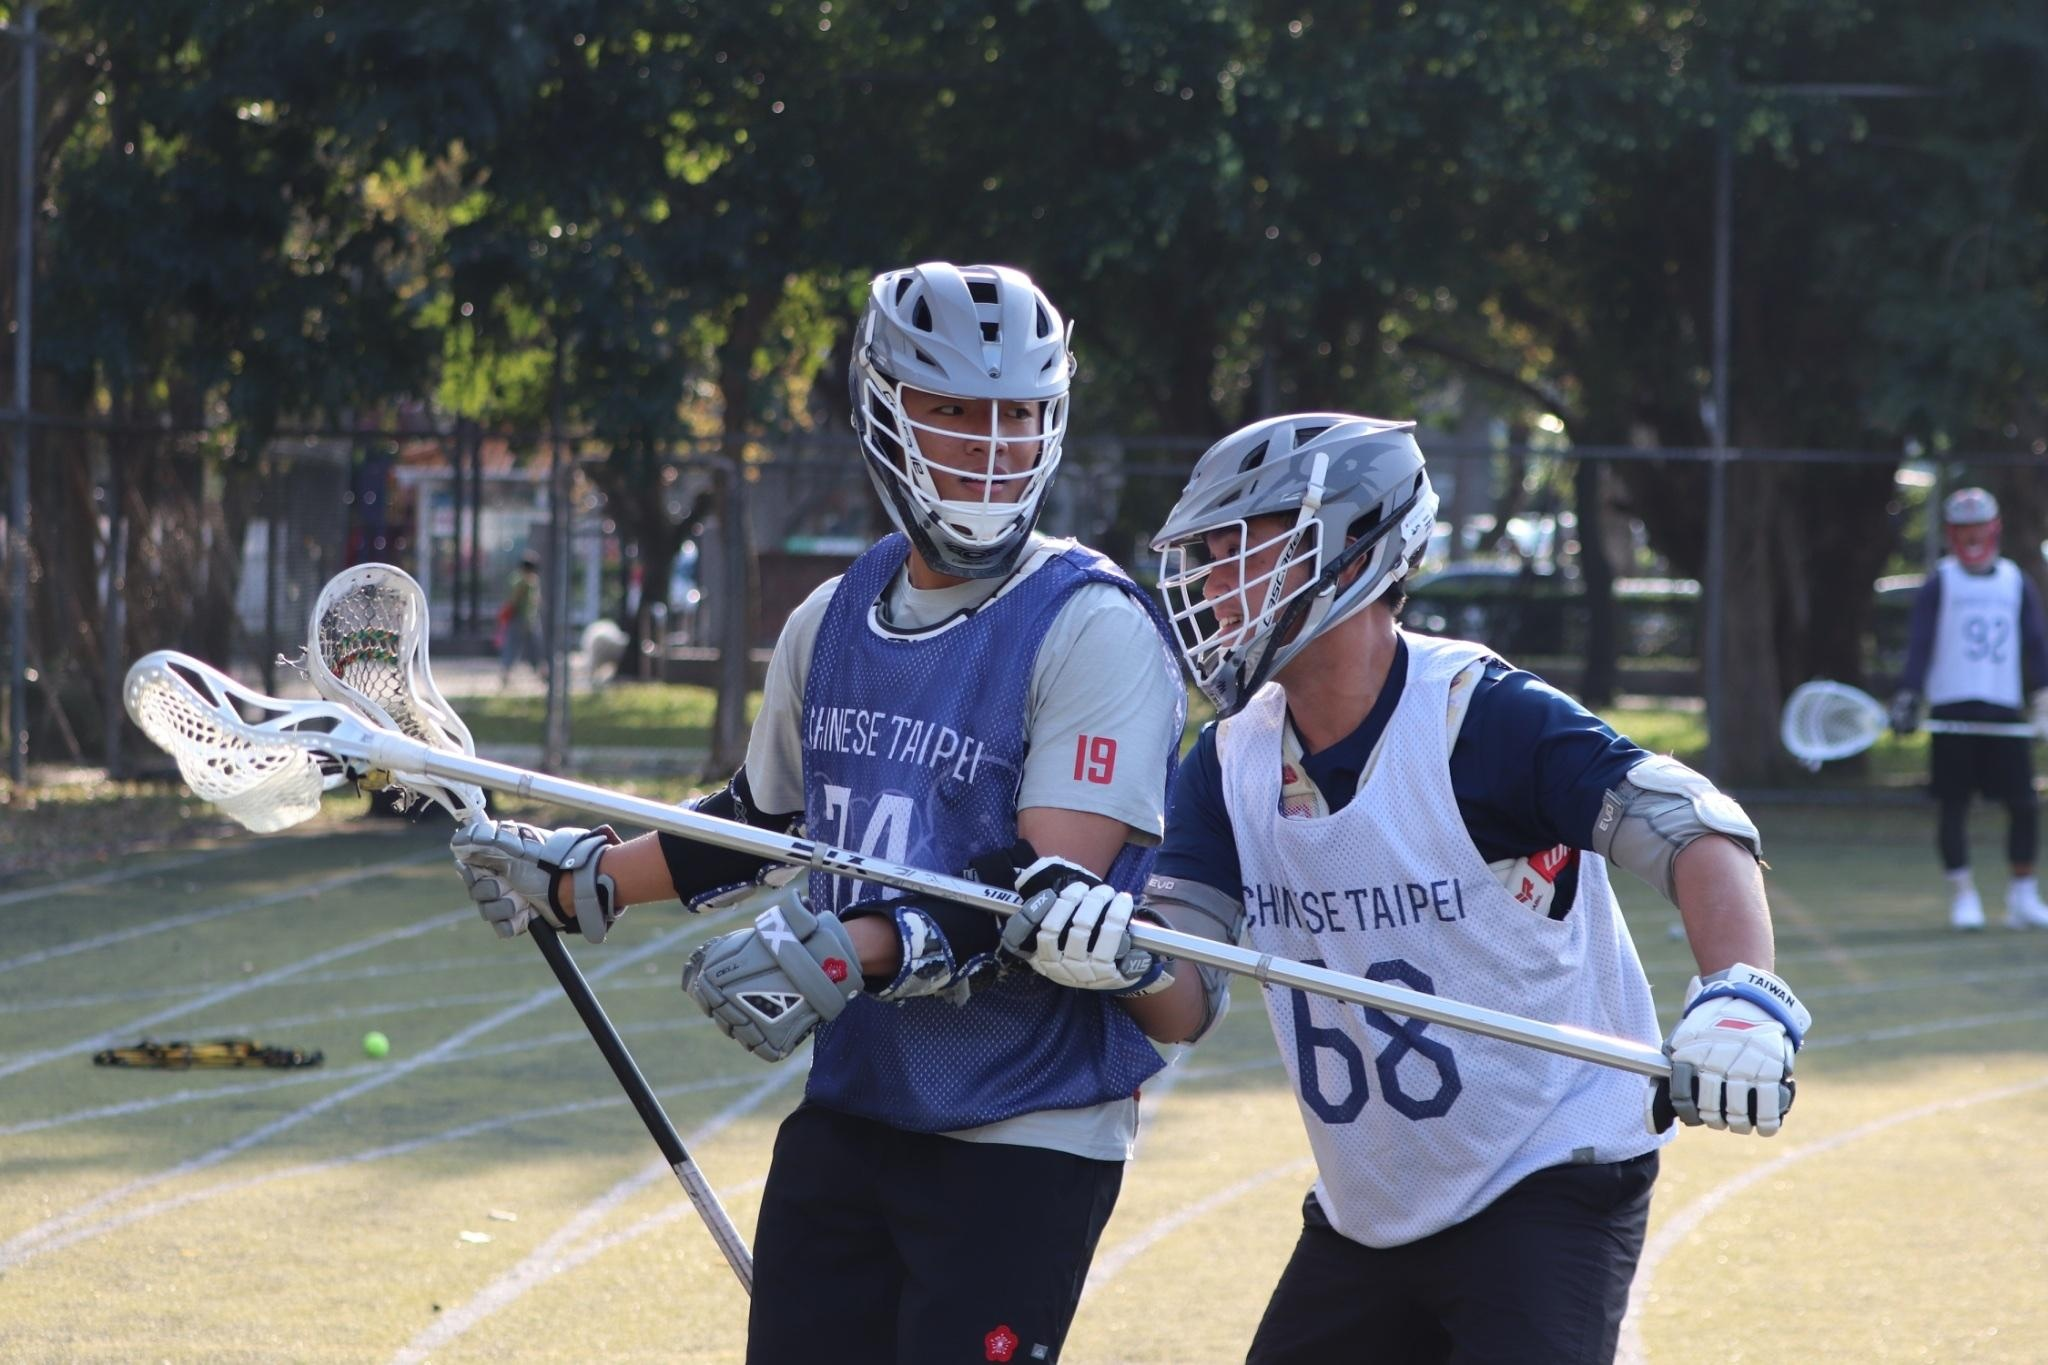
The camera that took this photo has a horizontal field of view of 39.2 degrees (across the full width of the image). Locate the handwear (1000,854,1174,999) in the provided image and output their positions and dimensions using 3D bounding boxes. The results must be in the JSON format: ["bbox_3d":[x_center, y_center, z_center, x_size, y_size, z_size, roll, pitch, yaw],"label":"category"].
[{"bbox_3d":[0.227,0.903,10.303,0.545,0.416,0.224,27,-15,-23],"label":"handwear"}]

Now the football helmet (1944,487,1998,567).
[{"bbox_3d":[5.957,-0.983,18.067,0.304,0.554,0.392,-4,22,25],"label":"football helmet"}]

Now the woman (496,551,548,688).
[{"bbox_3d":[-4.818,-0.488,27.640,0.535,1.724,0.499,1,-14,-16],"label":"woman"}]

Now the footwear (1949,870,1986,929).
[{"bbox_3d":[5.790,1.319,17.700,0.242,0.343,0.471,5,15,18],"label":"footwear"}]
